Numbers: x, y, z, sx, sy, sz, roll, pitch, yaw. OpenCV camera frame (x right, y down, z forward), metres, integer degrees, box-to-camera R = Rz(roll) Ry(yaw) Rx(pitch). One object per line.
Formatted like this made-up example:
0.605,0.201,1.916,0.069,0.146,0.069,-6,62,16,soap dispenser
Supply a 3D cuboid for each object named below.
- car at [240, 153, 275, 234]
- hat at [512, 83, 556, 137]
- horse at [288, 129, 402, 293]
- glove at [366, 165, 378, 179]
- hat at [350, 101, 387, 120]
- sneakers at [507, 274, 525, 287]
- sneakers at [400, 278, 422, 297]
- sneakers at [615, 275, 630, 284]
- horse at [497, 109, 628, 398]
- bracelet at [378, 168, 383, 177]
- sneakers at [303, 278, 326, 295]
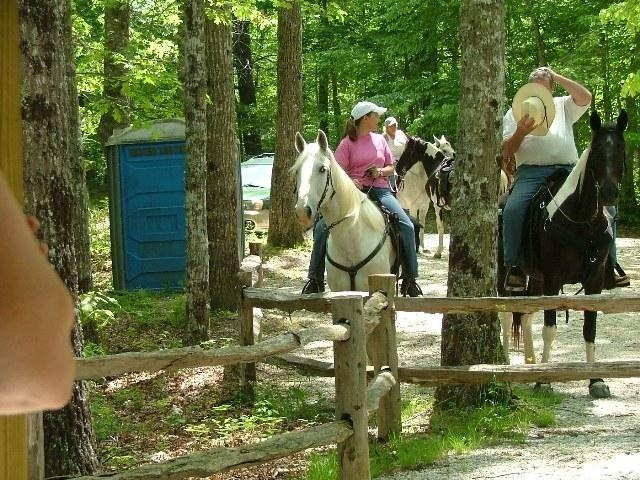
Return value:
-1.605,-1.127,26.171,0.838,1.788,4.555,-5,4,-3,car
2.777,-1.682,12.749,0.648,0.694,0.384,-6,4,-26,hat
0.220,-0.334,12.553,1.606,2.077,0.528,-8,5,-42,horse
0.695,-0.897,13.169,0.108,0.177,0.101,2,-3,18,glove
0.631,-1.713,13.074,0.393,0.192,0.250,-13,10,-1,hat
2.635,0.555,13.386,0.170,0.132,0.182,1,-1,21,sneakers
1.230,0.665,13.356,0.183,0.296,0.292,-2,-5,-15,sneakers
4.131,0.557,13.614,0.191,0.096,0.271,-3,3,7,sneakers
3.205,0.157,13.011,1.099,3.587,1.907,-6,4,-26,horse
0.814,-0.887,13.202,0.031,0.120,0.074,-6,46,11,bracelet
-0.087,0.628,13.286,0.277,0.268,0.174,3,3,8,sneakers
